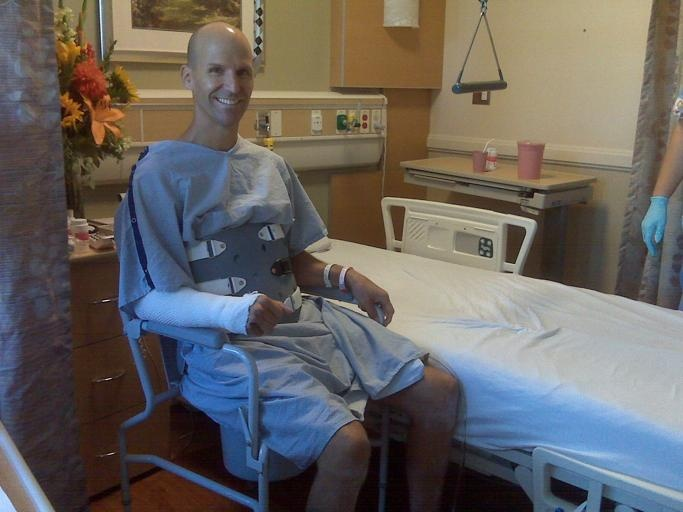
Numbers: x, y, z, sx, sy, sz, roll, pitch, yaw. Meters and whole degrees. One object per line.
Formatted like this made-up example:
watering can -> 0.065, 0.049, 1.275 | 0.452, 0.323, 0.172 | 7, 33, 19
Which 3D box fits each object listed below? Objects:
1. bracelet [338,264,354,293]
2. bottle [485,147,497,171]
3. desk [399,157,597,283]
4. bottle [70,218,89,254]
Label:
bracelet -> 0.017, 0.062, 1.688 | 0.035, 0.063, 0.060 | 8, -7, 13
bottle -> 0.679, -0.437, 2.616 | 0.066, 0.103, 0.059 | 17, 29, 36
desk -> 0.658, -0.137, 2.313 | 0.187, 0.438, 0.453 | -16, 25, -42
bottle -> -0.771, -0.063, 1.699 | 0.047, 0.095, 0.101 | -5, 14, -25
